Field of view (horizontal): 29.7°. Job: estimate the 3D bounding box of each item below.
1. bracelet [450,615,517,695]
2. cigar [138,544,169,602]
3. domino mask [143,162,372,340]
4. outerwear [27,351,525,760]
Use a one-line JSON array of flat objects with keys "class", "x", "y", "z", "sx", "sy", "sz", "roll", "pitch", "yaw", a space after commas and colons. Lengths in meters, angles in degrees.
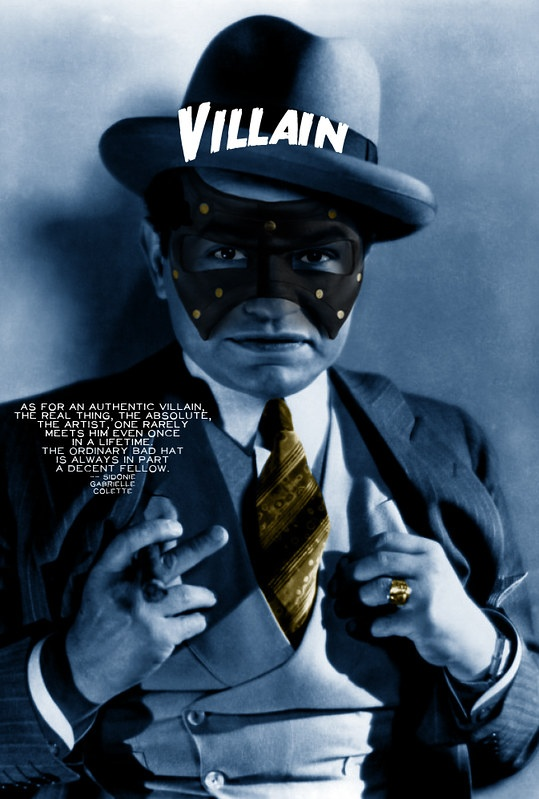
[{"class": "bracelet", "x": 0.375, "y": 0.469, "z": 1.902, "sx": 0.140, "sy": 0.142, "sz": 0.116, "roll": -5, "pitch": 27, "yaw": -6}, {"class": "cigar", "x": -0.207, "y": 0.299, "z": 1.756, "sx": 0.058, "sy": 0.025, "sz": 0.086, "roll": 3, "pitch": 92, "yaw": 2}, {"class": "domino mask", "x": -0.035, "y": -0.245, "z": 1.766, "sx": 0.376, "sy": 0.158, "sz": 0.246, "roll": 5, "pitch": 64, "yaw": -3}, {"class": "outerwear", "x": 0.054, "y": 0.231, "z": 1.820, "sx": 0.567, "sy": 0.894, "sz": 0.509, "roll": 1, "pitch": 22, "yaw": -1}]
